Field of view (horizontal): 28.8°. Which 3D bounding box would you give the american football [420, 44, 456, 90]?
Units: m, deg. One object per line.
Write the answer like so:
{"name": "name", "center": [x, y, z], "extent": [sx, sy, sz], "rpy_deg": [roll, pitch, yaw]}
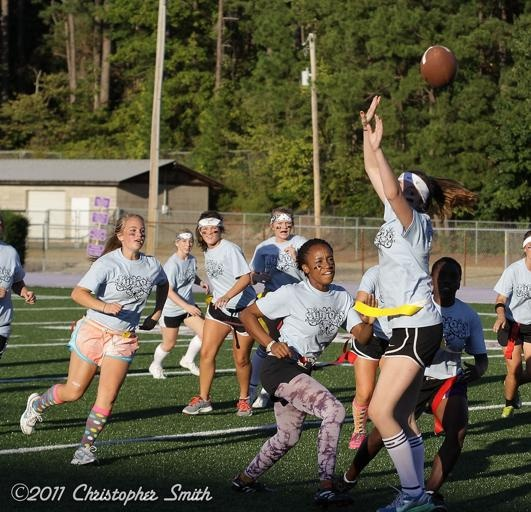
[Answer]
{"name": "american football", "center": [1.554, -1.726, 9.474], "extent": [0.418, 0.456, 0.383], "rpy_deg": [-1, 5, -4]}

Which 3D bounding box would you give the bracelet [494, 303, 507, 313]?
{"name": "bracelet", "center": [2.418, 0.530, 10.587], "extent": [0.101, 0.070, 0.096], "rpy_deg": [1, 5, -6]}

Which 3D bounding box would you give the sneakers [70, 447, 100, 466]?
{"name": "sneakers", "center": [-1.453, 1.604, 8.326], "extent": [0.261, 0.115, 0.101], "rpy_deg": [-16, -22, 39]}

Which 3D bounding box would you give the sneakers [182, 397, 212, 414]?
{"name": "sneakers", "center": [-0.667, 1.505, 10.478], "extent": [0.343, 0.151, 0.126], "rpy_deg": [3, 1, -33]}

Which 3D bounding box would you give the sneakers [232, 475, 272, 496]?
{"name": "sneakers", "center": [-0.089, 1.690, 7.688], "extent": [0.316, 0.125, 0.103], "rpy_deg": [2, 20, -1]}

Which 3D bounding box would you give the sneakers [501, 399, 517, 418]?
{"name": "sneakers", "center": [2.451, 1.539, 10.473], "extent": [0.088, 0.096, 0.243], "rpy_deg": [-10, 12, 37]}

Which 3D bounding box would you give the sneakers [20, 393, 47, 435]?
{"name": "sneakers", "center": [-2.050, 1.428, 9.234], "extent": [0.159, 0.433, 0.196], "rpy_deg": [-6, 29, -45]}

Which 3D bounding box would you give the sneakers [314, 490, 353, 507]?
{"name": "sneakers", "center": [0.484, 1.716, 7.341], "extent": [0.268, 0.119, 0.108], "rpy_deg": [-1, -13, -2]}

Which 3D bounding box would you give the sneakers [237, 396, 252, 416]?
{"name": "sneakers", "center": [-0.213, 1.535, 10.587], "extent": [0.133, 0.155, 0.381], "rpy_deg": [-1, -8, 4]}

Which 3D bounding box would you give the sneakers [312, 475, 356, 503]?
{"name": "sneakers", "center": [0.519, 1.678, 7.393], "extent": [0.322, 0.147, 0.137], "rpy_deg": [-5, -4, 18]}
